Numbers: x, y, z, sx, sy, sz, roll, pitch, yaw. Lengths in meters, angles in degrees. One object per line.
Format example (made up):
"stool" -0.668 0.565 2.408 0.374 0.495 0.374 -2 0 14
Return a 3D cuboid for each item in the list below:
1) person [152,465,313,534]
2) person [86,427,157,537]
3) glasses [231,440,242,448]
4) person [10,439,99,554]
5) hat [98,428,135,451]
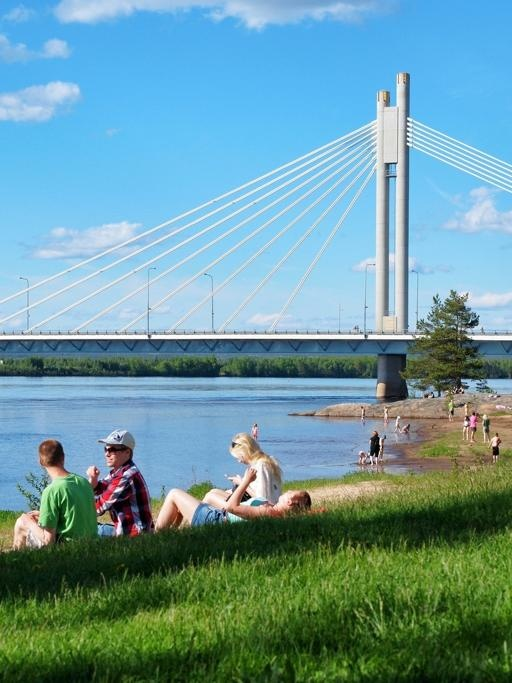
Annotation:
"person" -0.174 1.129 8.774 0.951 0.649 0.484 8 -10 14
"person" -1.006 1.009 8.936 0.528 0.796 0.388 -2 2 -13
"glasses" -0.146 0.715 8.971 0.053 0.052 0.056 -4 -6 33
"person" -1.356 1.119 8.384 0.639 0.994 0.462 2 4 39
"hat" -0.970 0.675 8.857 0.232 0.135 0.155 8 -7 -16
